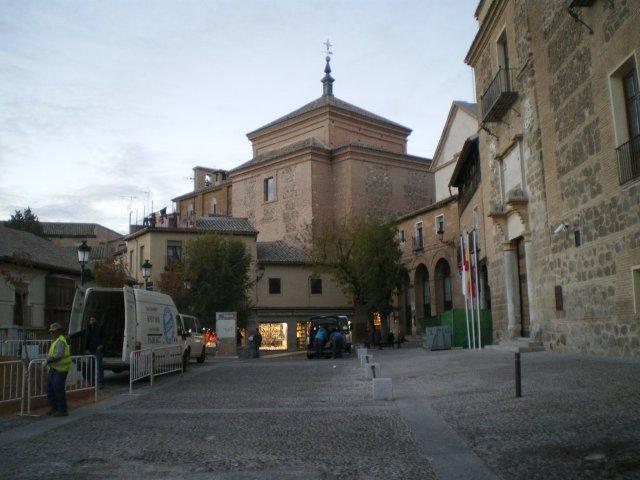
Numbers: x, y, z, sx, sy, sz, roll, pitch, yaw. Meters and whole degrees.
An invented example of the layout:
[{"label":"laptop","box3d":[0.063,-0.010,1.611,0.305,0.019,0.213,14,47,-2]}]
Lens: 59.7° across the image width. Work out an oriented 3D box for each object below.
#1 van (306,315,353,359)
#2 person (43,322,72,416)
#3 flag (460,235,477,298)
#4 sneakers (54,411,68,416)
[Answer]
[{"label":"van","box3d":[0.548,5.103,29.831,1.560,1.542,2.676,-1,-4,7]},{"label":"person","box3d":[-5.453,2.692,11.792,0.467,1.837,0.990,0,-5,-26]},{"label":"flag","box3d":[7.471,1.245,27.971,0.618,3.215,2.065,-3,-4,14]},{"label":"sneakers","box3d":[-5.194,3.516,11.343,0.214,0.105,0.100,10,-12,-23]}]
